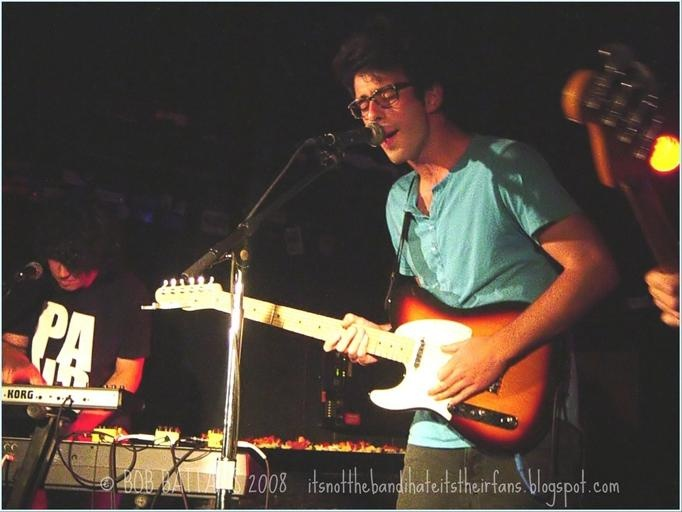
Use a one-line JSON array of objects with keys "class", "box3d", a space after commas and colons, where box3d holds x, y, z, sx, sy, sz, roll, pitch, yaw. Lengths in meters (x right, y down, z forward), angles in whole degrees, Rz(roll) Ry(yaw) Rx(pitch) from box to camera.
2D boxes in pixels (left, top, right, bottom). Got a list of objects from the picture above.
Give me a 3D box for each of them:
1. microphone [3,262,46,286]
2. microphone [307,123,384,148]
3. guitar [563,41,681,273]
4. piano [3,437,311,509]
[{"class": "microphone", "box3d": [-1.771, 0.099, 4.225, 0.094, 0.106, 0.243, -1, 12, 21]}, {"class": "microphone", "box3d": [0.034, -0.526, 3.372, 0.125, 0.132, 0.506, 8, 12, 39]}, {"class": "guitar", "box3d": [1.483, -0.501, 3.797, 0.468, 1.152, 0.151, -26, -10, 35]}, {"class": "piano", "box3d": [-0.954, 1.046, 3.731, 1.401, 0.344, 0.434, 6, -17, 6]}]
